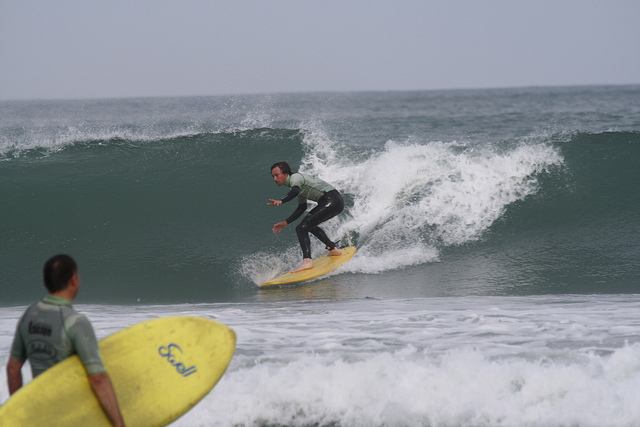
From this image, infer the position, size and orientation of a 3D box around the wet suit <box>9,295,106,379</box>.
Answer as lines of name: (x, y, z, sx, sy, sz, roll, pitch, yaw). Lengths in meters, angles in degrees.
wet suit: (-3.744, 1.789, 12.070, 1.503, 1.156, 0.515, 6, 14, 14)

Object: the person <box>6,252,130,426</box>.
person: (-3.602, 1.765, 11.677, 1.553, 2.384, 0.390, -4, 7, -6)

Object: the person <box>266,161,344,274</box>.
person: (-0.221, 0.047, 16.034, 1.427, 2.096, 0.574, -7, 8, -31)
